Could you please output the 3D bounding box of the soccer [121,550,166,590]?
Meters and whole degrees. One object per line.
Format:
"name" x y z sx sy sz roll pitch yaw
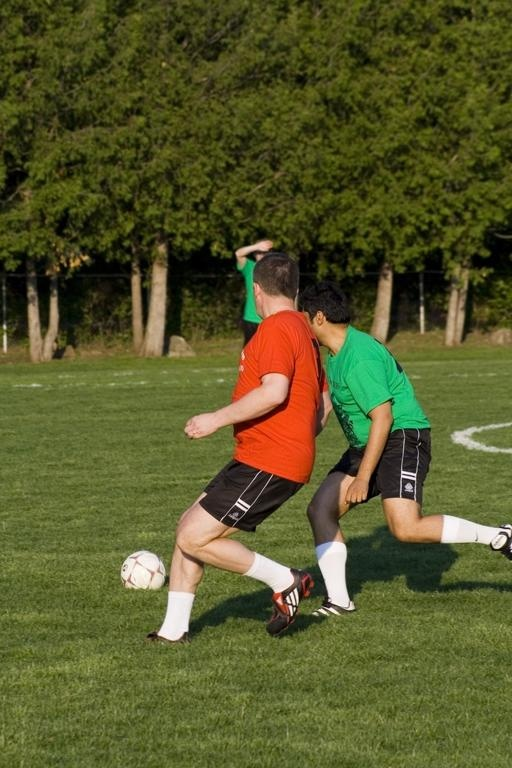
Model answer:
"soccer" -0.595 0.963 5.173 0.251 0.190 0.203 -4 9 -9

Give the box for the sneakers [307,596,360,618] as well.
"sneakers" 0.374 1.078 4.734 0.233 0.080 0.074 -2 -2 -1

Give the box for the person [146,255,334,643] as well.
"person" -0.012 0.284 4.253 0.745 1.719 0.566 2 6 -25

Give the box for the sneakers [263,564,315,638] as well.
"sneakers" 0.147 0.964 4.408 0.193 0.354 0.131 20 4 -8
